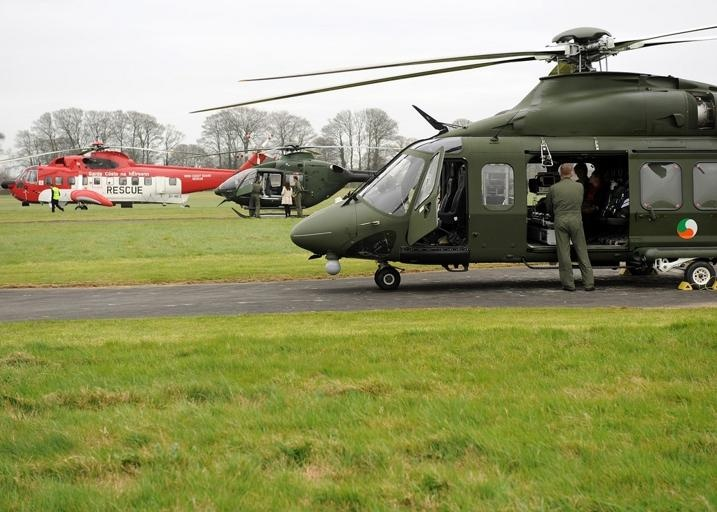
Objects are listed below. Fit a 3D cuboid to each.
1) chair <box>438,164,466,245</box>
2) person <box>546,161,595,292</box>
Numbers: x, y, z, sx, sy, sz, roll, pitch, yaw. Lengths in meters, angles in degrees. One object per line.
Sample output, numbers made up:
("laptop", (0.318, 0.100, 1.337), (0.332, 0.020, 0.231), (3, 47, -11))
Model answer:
("chair", (1.973, -1.048, 14.734), (0.796, 1.507, 0.675), (-14, 22, -25))
("person", (3.969, -0.609, 14.359), (1.043, 2.464, 1.017), (-1, 5, 43))
